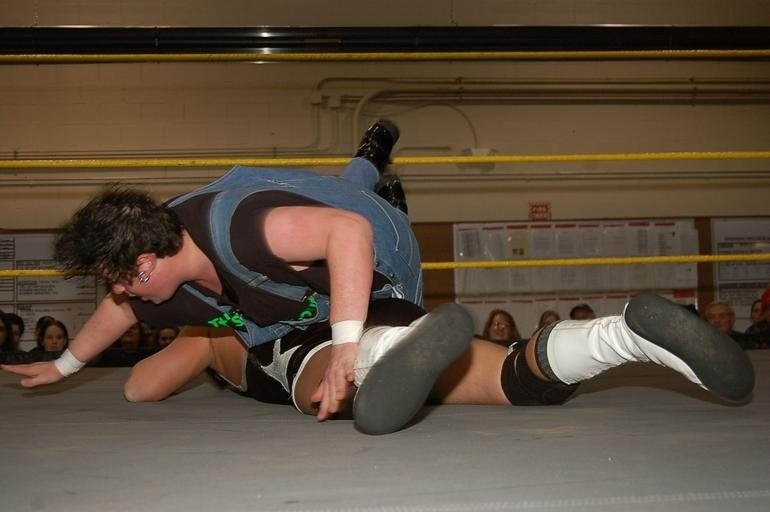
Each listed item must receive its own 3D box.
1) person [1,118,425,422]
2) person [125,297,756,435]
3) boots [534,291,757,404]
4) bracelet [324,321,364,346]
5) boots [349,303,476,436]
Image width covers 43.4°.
[{"bbox_3d":[-0.656,0.043,5.179,1.477,0.620,2.014,4,19,39],"label":"person"},{"bbox_3d":[0.274,0.551,5.098,2.302,0.407,1.278,-9,-13,28],"label":"person"},{"bbox_3d":[1.303,0.365,5.091,1.277,0.412,0.450,12,29,12],"label":"boots"},{"bbox_3d":[-0.201,0.388,4.944,0.156,0.091,0.136,-5,1,-17],"label":"bracelet"},{"bbox_3d":[0.134,0.562,5.049,0.806,0.420,0.317,-35,10,-6],"label":"boots"}]
